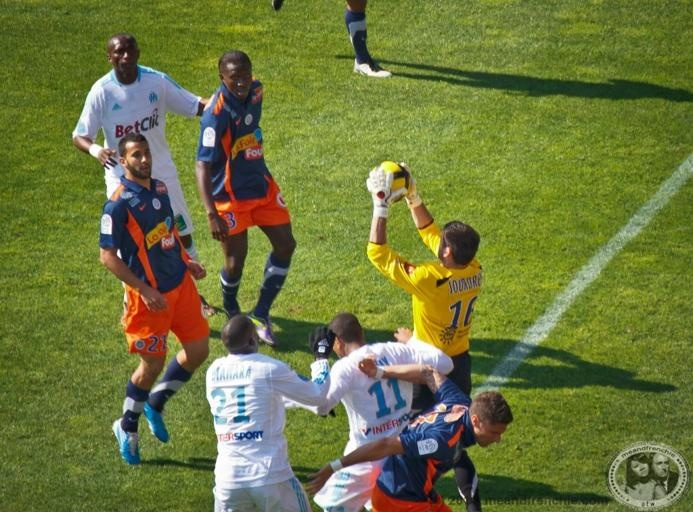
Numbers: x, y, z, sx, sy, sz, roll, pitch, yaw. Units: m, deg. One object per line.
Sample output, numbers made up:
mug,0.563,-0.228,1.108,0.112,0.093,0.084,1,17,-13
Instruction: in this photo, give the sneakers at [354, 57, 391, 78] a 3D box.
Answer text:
sneakers,0.383,-2.974,19.066,0.505,0.200,0.256,7,22,11

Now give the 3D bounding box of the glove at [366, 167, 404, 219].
glove,0.411,-0.741,13.605,0.342,0.603,0.283,-6,-8,-6

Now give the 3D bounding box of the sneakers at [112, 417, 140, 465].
sneakers,-2.487,2.140,13.782,0.222,0.600,0.248,-24,12,-40

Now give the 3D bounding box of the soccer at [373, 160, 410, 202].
soccer,0.537,-0.847,13.659,0.395,0.442,0.369,1,-8,20

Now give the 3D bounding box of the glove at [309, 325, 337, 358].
glove,-0.230,0.927,13.239,0.247,0.100,0.347,-7,65,31

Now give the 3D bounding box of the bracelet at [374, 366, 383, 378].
bracelet,0.337,1.224,12.899,0.073,0.102,0.105,8,59,-22

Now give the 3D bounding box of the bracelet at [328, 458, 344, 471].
bracelet,-0.106,2.192,12.808,0.121,0.098,0.124,-25,19,12
